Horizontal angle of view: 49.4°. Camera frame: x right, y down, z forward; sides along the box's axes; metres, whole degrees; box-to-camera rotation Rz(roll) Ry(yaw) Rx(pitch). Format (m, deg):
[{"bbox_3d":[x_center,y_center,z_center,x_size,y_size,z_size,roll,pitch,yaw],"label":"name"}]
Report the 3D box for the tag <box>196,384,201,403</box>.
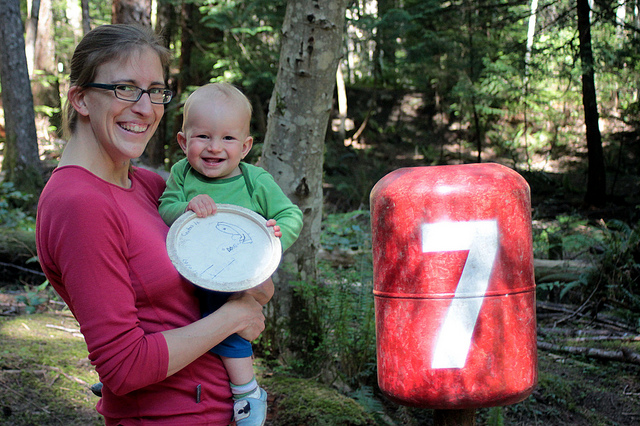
[{"bbox_3d":[-1.011,1.511,5.811,0.029,0.150,0.015,2,2,-12],"label":"tag"}]
